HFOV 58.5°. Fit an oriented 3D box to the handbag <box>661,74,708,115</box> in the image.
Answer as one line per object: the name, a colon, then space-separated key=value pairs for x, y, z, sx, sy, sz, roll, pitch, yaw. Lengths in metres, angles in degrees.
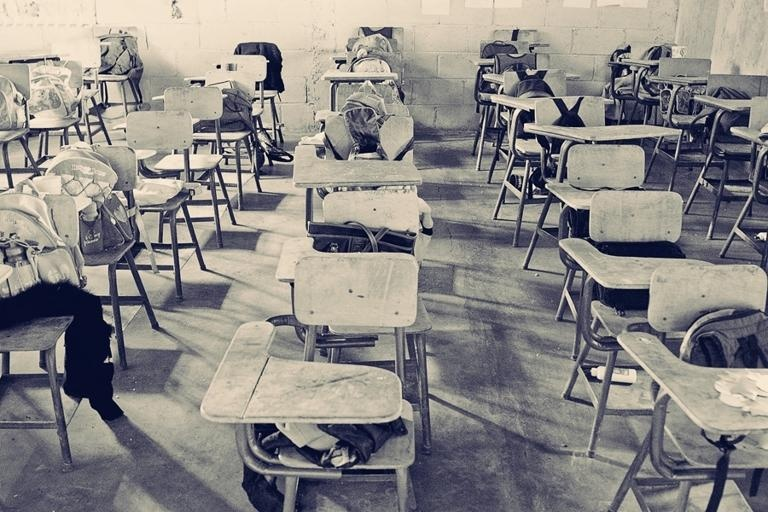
handbag: x=3.080 y=-1.661 z=7.004 sx=0.476 sy=0.488 sz=0.539 roll=2 pitch=18 yaw=11

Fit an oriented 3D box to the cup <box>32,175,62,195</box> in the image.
cup: x=-1.858 y=-0.405 z=3.822 sx=0.143 sy=0.114 sz=0.120 roll=-2 pitch=16 yaw=-5

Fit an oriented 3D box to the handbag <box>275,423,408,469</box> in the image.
handbag: x=-0.220 y=0.831 z=3.069 sx=0.331 sy=0.101 sz=0.241 roll=8 pitch=3 yaw=-4

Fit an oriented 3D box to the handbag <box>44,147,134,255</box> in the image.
handbag: x=-1.707 y=-0.316 z=3.949 sx=0.353 sy=0.571 sz=0.470 roll=-11 pitch=30 yaw=-29

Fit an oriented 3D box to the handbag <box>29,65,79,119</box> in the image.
handbag: x=-3.323 y=-1.665 z=6.876 sx=0.628 sy=0.588 sz=0.420 roll=0 pitch=20 yaw=-21

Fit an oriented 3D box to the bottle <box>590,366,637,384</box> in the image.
bottle: x=1.301 y=0.674 z=3.864 sx=0.271 sy=0.076 sz=0.129 roll=2 pitch=10 yaw=2

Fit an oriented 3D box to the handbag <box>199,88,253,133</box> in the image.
handbag: x=-1.437 y=-1.342 z=6.299 sx=0.452 sy=0.184 sz=0.435 roll=-2 pitch=5 yaw=-2

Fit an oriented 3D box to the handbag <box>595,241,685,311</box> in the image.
handbag: x=1.436 y=0.077 z=3.908 sx=0.380 sy=0.197 sz=0.479 roll=0 pitch=20 yaw=3

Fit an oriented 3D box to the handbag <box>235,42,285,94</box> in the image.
handbag: x=-1.489 y=-2.263 z=8.315 sx=0.732 sy=0.681 sz=0.301 roll=4 pitch=12 yaw=5
